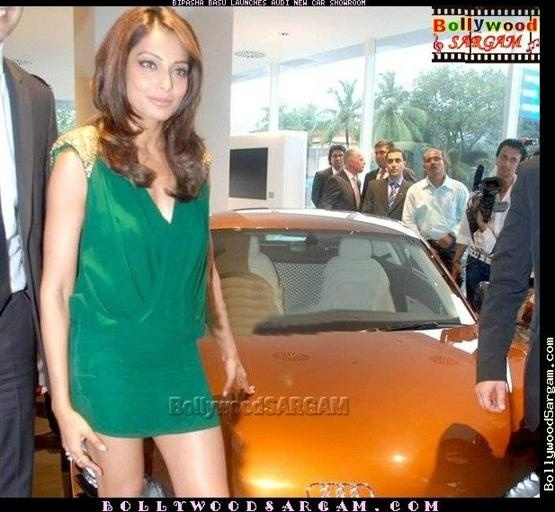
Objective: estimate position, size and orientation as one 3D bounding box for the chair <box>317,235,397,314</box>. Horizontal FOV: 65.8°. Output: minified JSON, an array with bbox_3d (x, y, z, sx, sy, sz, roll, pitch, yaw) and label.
[{"bbox_3d":[0.280,0.111,1.755,0.211,0.374,0.283,2,-33,1],"label":"chair"}]

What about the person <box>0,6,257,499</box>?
[{"bbox_3d":[-0.321,0.010,1.103,0.488,1.228,0.355,-2,9,-5],"label":"person"}]

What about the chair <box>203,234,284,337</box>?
[{"bbox_3d":[-0.100,0.082,1.620,0.305,0.391,0.223,-7,20,-7],"label":"chair"}]
